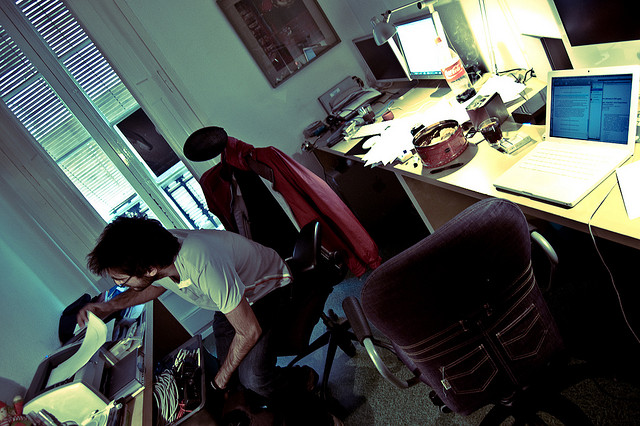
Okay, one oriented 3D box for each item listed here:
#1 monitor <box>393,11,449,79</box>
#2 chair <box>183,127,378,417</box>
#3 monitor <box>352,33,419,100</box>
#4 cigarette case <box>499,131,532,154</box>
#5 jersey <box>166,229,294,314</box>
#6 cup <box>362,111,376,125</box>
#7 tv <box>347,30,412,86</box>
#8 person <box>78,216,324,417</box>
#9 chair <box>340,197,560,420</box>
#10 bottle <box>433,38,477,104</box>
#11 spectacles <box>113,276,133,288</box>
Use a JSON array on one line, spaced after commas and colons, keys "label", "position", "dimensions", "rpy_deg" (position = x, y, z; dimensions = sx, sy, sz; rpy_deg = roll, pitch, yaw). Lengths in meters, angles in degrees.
[{"label": "monitor", "position": [0.800, -1.252, 3.323], "dimensions": [0.081, 0.461, 0.621], "rpy_deg": [-25, 22, -12]}, {"label": "chair", "position": [-0.242, 0.420, 3.031], "dimensions": [1.065, 1.747, 0.989], "rpy_deg": [-37, 17, 42]}, {"label": "monitor", "position": [0.587, -1.307, 3.891], "dimensions": [0.343, 0.608, 0.626], "rpy_deg": [-42, 25, -6]}, {"label": "cigarette case", "position": [1.125, -0.415, 2.555], "dimensions": [0.151, 0.050, 0.107], "rpy_deg": [-38, 27, 4]}, {"label": "jersey", "position": [-0.496, 0.400, 2.728], "dimensions": [0.825, 0.601, 0.450], "rpy_deg": [177, 109, -72]}, {"label": "cup", "position": [0.404, -0.792, 3.674], "dimensions": [0.104, 0.120, 0.101], "rpy_deg": [-7, 9, 1]}, {"label": "tv", "position": [0.531, -1.409, 3.949], "dimensions": [0.099, 0.519, 0.725], "rpy_deg": [-42, 16, -15]}, {"label": "person", "position": [-0.680, 0.674, 2.839], "dimensions": [0.977, 1.757, 0.671], "rpy_deg": [-12, 30, 33]}, {"label": "chair", "position": [0.670, 0.526, 2.221], "dimensions": [0.737, 1.073, 0.694], "rpy_deg": [-35, 34, 16]}, {"label": "bottle", "position": [0.948, -1.088, 3.183], "dimensions": [0.194, 0.427, 0.468], "rpy_deg": [-20, 27, 20]}, {"label": "spectacles", "position": [-1.081, 0.392, 2.439], "dimensions": [0.094, 0.030, 0.102], "rpy_deg": [-2, 60, 16]}]
